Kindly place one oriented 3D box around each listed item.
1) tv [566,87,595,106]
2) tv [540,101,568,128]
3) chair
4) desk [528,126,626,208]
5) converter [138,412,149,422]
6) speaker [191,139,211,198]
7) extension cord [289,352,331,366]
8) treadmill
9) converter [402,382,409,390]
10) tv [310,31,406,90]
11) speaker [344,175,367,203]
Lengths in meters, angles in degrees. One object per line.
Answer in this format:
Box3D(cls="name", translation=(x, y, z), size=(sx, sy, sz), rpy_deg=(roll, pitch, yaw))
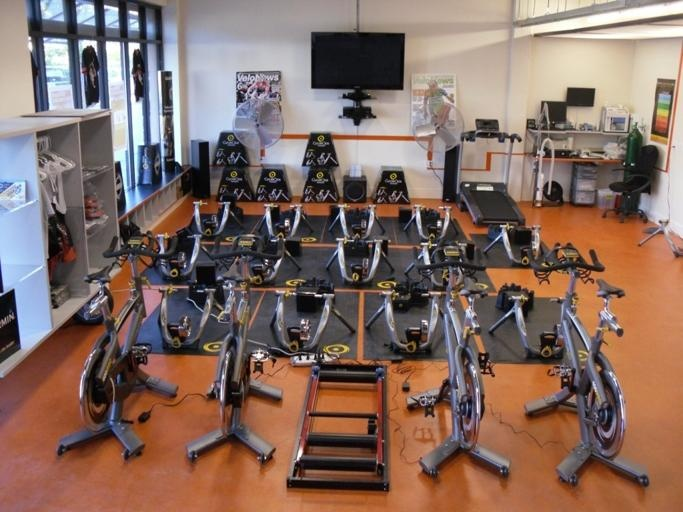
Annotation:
Box3D(cls="tv", translation=(4.723, -3.131, 10.549), size=(0.656, 0.368, 0.169), rpy_deg=(-1, 18, -3))
Box3D(cls="tv", translation=(4.179, -2.781, 10.507), size=(0.545, 0.485, 0.523), rpy_deg=(4, 18, 12))
Box3D(cls="chair", translation=(5.253, -1.332, 9.769), size=(0.765, 1.298, 0.792), rpy_deg=(2, 17, 23))
Box3D(cls="desk", translation=(4.706, -1.817, 10.604), size=(1.491, 1.162, 0.639), rpy_deg=(-1, 12, -2))
Box3D(cls="converter", translation=(-1.738, 1.397, 4.673), size=(0.087, 0.047, 0.107), rpy_deg=(9, 20, 25))
Box3D(cls="speaker", translation=(-2.859, -1.735, 10.740), size=(0.368, 1.152, 0.274), rpy_deg=(-1, 17, -3))
Box3D(cls="extension cord", translation=(-0.311, 1.041, 5.397), size=(0.356, 0.088, 0.178), rpy_deg=(-3, 20, -2))
Box3D(cls="treadmill", translation=(2.760, -1.604, 9.978), size=(1.213, 1.698, 2.262), rpy_deg=(4, 18, 11))
Box3D(cls="converter", translation=(0.604, 1.229, 5.062), size=(0.070, 0.074, 0.057), rpy_deg=(1, 18, 4))
Box3D(cls="tv", translation=(0.287, -3.735, 10.253), size=(1.741, 1.010, 0.290), rpy_deg=(-1, 18, -4))
Box3D(cls="speaker", translation=(0.339, -1.340, 10.829), size=(0.559, 0.601, 0.472), rpy_deg=(3, 32, 5))
